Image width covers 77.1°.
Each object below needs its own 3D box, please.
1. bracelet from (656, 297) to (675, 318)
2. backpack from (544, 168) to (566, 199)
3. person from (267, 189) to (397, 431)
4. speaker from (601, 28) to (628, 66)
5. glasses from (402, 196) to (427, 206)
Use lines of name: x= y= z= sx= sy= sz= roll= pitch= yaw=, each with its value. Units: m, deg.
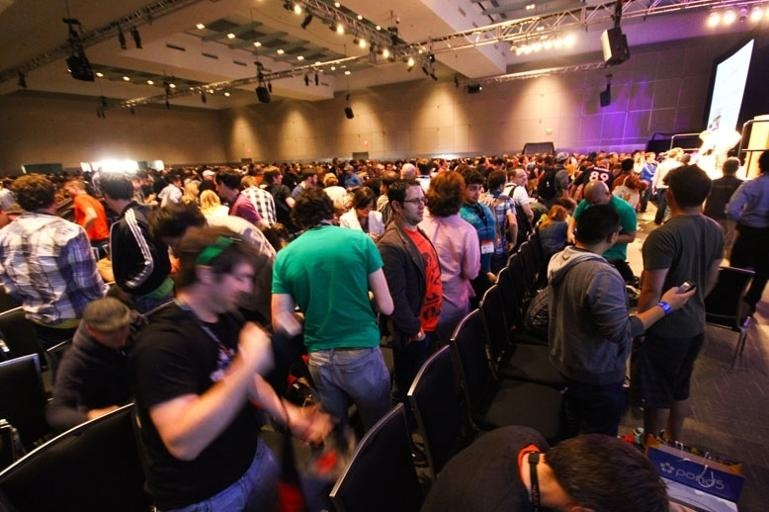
bracelet: x=2.508 y=0.438 z=4.345 sx=0.090 sy=0.166 sz=0.149 roll=-15 pitch=46 yaw=-2
backpack: x=2.622 y=-1.090 z=7.400 sx=0.401 sy=0.457 sz=0.326 roll=1 pitch=13 yaw=4
person: x=-0.458 y=0.803 z=4.701 sx=0.984 sy=2.978 sz=0.902 roll=-5 pitch=19 yaw=-4
speaker: x=4.055 y=-3.621 z=8.383 sx=0.352 sy=0.620 sz=0.408 roll=0 pitch=13 yaw=12
glasses: x=0.282 y=-0.507 z=4.526 sx=0.211 sy=0.086 sz=0.070 roll=-12 pitch=15 yaw=-32
